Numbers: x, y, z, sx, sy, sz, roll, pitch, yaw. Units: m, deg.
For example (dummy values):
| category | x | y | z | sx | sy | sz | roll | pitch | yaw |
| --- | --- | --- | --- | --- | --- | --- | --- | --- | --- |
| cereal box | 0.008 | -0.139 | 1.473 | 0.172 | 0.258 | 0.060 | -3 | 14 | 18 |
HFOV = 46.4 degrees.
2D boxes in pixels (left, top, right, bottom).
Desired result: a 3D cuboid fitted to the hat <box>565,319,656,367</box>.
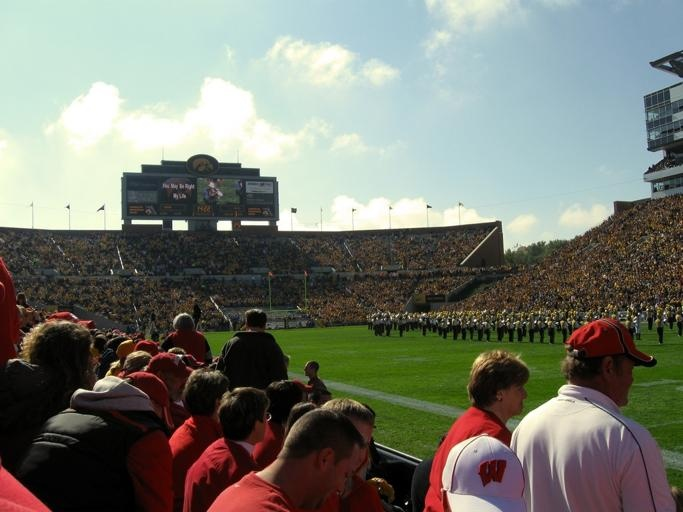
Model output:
| category | x | y | z | sx | sy | sz | roll | pitch | yaw |
| --- | --- | --- | --- | --- | --- | --- | --- | --- | --- |
| hat | 1.621 | 0.527 | 4.850 | 0.446 | 0.252 | 0.279 | -1 | 0 | -7 |

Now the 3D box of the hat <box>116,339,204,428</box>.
| category | x | y | z | sx | sy | sz | roll | pitch | yaw |
| --- | --- | --- | --- | --- | --- | --- | --- | --- | --- |
| hat | -1.474 | 1.014 | 6.671 | 0.767 | 0.793 | 0.575 | -4 | 6 | -13 |
